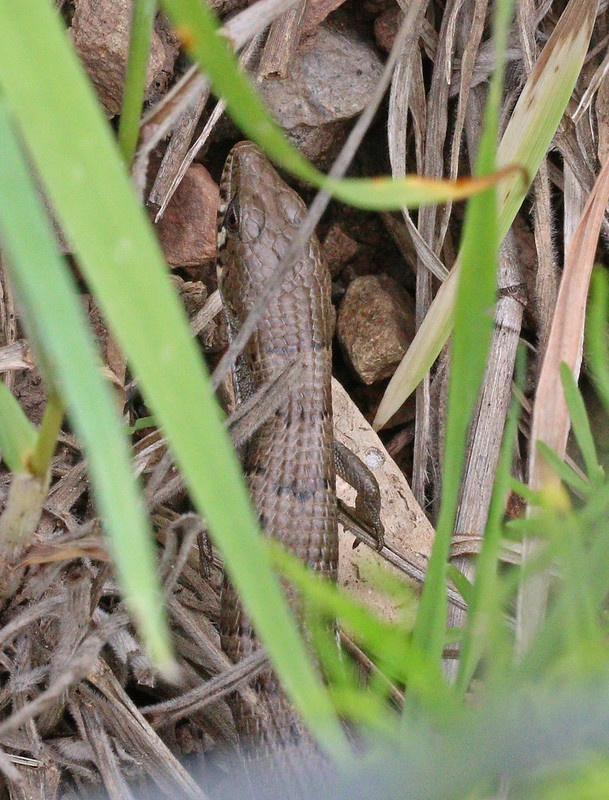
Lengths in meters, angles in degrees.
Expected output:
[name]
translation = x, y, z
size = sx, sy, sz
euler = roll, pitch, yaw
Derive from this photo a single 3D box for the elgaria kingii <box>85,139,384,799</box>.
[elgaria kingii]
translation = -0.056, 0.132, 2.299
size = 0.401, 0.323, 1.510
euler = 2, 79, -27
